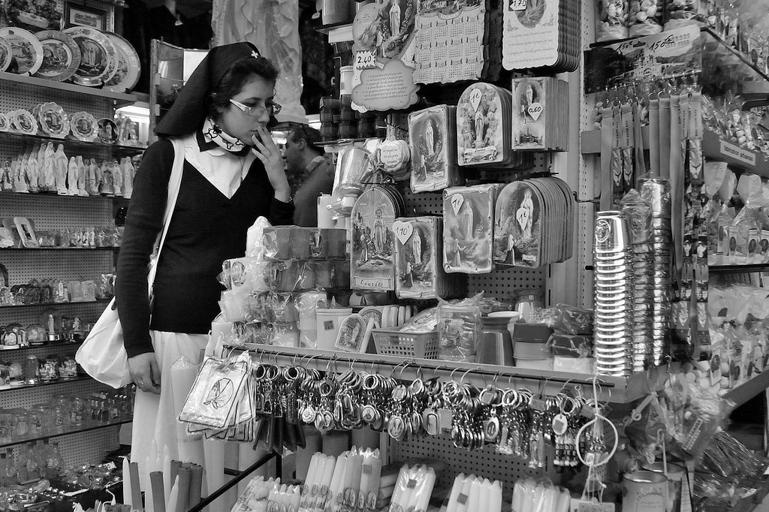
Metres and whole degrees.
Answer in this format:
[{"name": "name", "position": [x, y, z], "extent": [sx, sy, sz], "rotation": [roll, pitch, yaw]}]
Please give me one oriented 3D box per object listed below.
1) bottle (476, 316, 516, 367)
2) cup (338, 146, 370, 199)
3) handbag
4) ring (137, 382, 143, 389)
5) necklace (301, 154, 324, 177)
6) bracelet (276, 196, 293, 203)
[{"name": "bottle", "position": [0.451, 0.359, 3.579], "extent": [0.175, 0.188, 0.267], "rotation": [-1, 89, -38]}, {"name": "cup", "position": [-0.165, -0.417, 4.193], "extent": [0.152, 0.089, 0.278], "rotation": [11, 70, 7]}, {"name": "handbag", "position": [-1.439, 0.456, 4.154], "extent": [0.314, 0.340, 0.421], "rotation": [-15, 68, -4]}, {"name": "ring", "position": [-1.213, 0.642, 4.057], "extent": [0.028, 0.030, 0.023], "rotation": [3, 107, 17]}, {"name": "necklace", "position": [-0.613, -0.765, 6.966], "extent": [0.090, 0.237, 0.166], "rotation": [38, 34, 25]}, {"name": "bracelet", "position": [-0.535, -0.302, 4.335], "extent": [0.049, 0.085, 0.052], "rotation": [5, 94, 32]}]
